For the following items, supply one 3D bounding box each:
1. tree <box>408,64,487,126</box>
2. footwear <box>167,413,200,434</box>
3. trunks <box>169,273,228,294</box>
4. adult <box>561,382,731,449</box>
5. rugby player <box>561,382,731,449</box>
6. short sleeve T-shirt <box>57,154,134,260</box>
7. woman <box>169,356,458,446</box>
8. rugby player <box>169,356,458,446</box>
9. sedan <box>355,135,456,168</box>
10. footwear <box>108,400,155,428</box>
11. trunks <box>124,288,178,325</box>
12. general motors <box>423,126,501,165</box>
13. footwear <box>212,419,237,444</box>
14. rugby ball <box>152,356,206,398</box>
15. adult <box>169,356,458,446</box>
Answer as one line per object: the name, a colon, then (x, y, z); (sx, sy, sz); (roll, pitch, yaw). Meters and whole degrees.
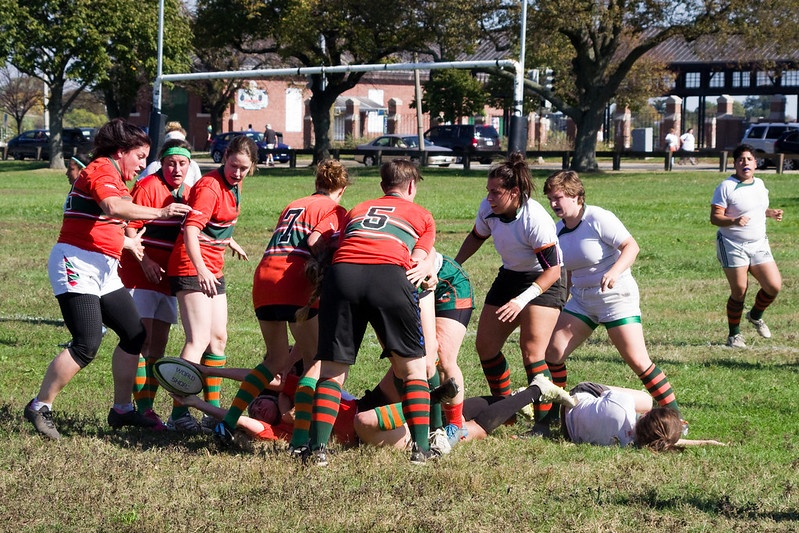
tree: (2.963, -9.285, 56.628); (3.040, 2.827, 2.996); (2, -1, -13)
footwear: (-2.613, 1.937, 12.958); (0.477, 0.230, 0.185); (2, 19, -6)
trunks: (-2.508, 0.221, 12.740); (0.381, 0.176, 0.327); (-3, -5, 6)
adult: (2.767, 1.866, 12.758); (1.587, 0.599, 0.586); (6, 16, 17)
rugby player: (2.761, 1.862, 12.772); (1.565, 0.599, 0.600); (6, 16, 16)
short sleeve T-shirt: (-3.805, -0.716, 12.801); (0.905, 1.492, 1.662); (7, 4, -14)
woman: (-1.741, 1.666, 13.125); (2.360, 0.690, 0.491); (5, 50, 18)
rugby player: (-0.867, 1.762, 12.921); (3.368, 0.802, 1.017); (-1, 24, 8)
sedan: (0.395, -5.619, 47.604); (4.163, 1.483, 1.998); (-1, 3, 23)
footwear: (-3.235, 1.827, 12.885); (0.635, 0.331, 0.229); (5, 15, -19)
trunks: (-3.089, 0.653, 13.212); (0.668, 0.494, 0.385); (5, -12, -36)
general motors: (3.026, -5.958, 49.902); (3.539, 1.435, 1.913); (7, 7, 23)
footwear: (-2.073, 1.986, 12.424); (0.130, 0.371, 0.169); (-32, 6, 28)
rugby ball: (-2.623, 1.332, 12.532); (0.551, 0.342, 0.366); (21, 27, 0)
adult: (-0.971, 1.700, 12.913); (3.364, 0.776, 1.013); (-4, 31, 10)
